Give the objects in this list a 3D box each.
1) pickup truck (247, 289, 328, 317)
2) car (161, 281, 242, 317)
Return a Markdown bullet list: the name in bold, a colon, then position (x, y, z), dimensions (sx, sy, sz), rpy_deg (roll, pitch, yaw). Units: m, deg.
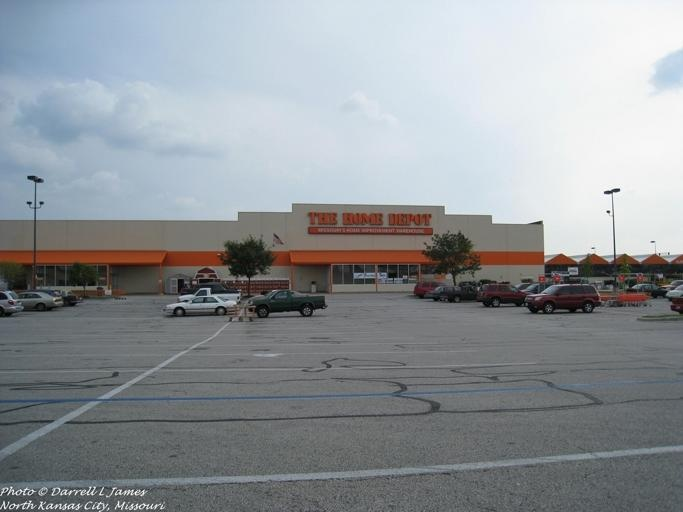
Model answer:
- **pickup truck**: position (-2.816, 2.461, 31.901), dimensions (3.623, 1.438, 1.384), rpy_deg (-1, 0, -13)
- **car**: position (-8.238, 2.550, 35.697), dimensions (3.901, 1.539, 4.149), rpy_deg (2, 1, -24)
